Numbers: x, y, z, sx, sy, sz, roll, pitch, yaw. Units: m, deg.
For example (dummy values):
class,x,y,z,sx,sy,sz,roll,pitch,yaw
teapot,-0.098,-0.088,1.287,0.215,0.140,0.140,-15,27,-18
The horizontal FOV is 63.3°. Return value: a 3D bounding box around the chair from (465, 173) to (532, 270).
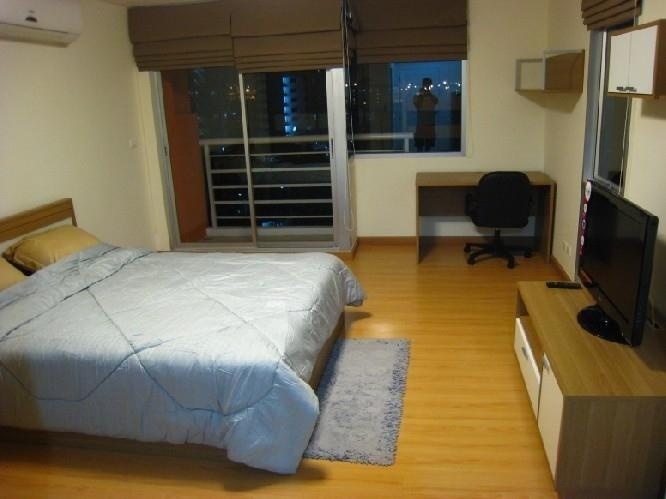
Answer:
class,x,y,z,sx,sy,sz,roll,pitch,yaw
chair,1.665,-0.310,5.372,0.601,0.857,0.602,1,7,-14
